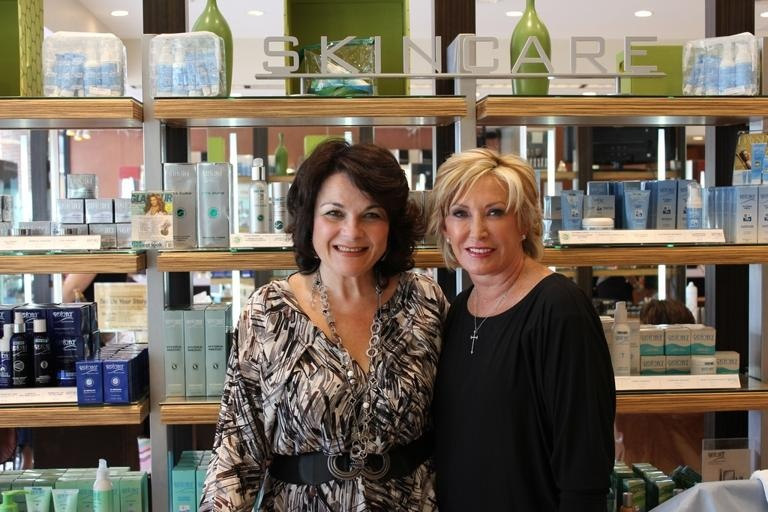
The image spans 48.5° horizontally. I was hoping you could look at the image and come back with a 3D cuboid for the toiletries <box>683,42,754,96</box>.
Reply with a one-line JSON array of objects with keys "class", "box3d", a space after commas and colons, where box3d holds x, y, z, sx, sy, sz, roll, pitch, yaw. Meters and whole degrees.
[{"class": "toiletries", "box3d": [1.604, -0.857, 4.070, 0.275, 0.249, 0.288, 0, 1, 21]}]
